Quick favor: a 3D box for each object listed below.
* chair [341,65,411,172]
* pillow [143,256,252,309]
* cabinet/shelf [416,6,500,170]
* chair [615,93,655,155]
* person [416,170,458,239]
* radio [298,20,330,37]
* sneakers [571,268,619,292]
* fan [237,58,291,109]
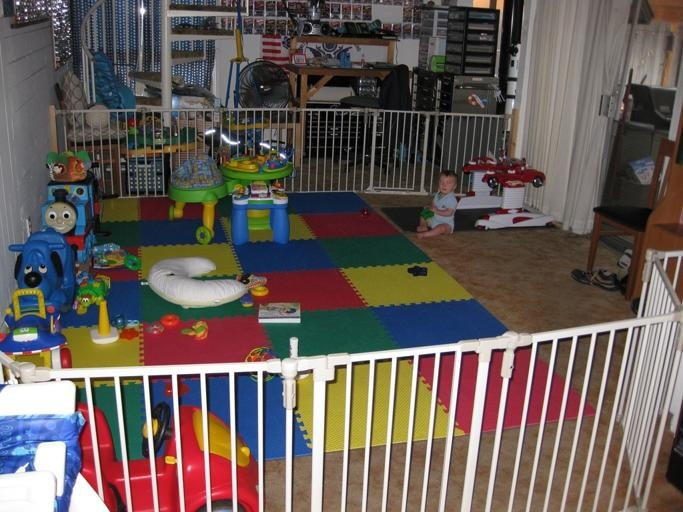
[{"bbox_3d":[0.463,-2.453,8.979,1.132,1.538,0.926,7,19,7],"label":"chair"},{"bbox_3d":[-1.290,0.237,4.743,0.522,0.192,0.700,-11,21,-33],"label":"pillow"},{"bbox_3d":[1.939,-2.756,8.949,1.310,2.515,2.953,2,19,4],"label":"cabinet/shelf"},{"bbox_3d":[3.546,-1.618,6.505,0.401,0.649,0.399,4,27,3],"label":"chair"},{"bbox_3d":[1.168,-0.633,6.494,0.447,0.734,0.623,5,19,11],"label":"person"},{"bbox_3d":[-0.476,-3.997,9.465,0.344,0.271,0.542,18,25,40],"label":"radio"},{"bbox_3d":[2.568,0.231,5.424,0.353,0.126,0.235,12,15,29],"label":"sneakers"},{"bbox_3d":[-1.234,-2.756,8.664,0.834,0.724,0.363,-2,19,-8],"label":"fan"}]
